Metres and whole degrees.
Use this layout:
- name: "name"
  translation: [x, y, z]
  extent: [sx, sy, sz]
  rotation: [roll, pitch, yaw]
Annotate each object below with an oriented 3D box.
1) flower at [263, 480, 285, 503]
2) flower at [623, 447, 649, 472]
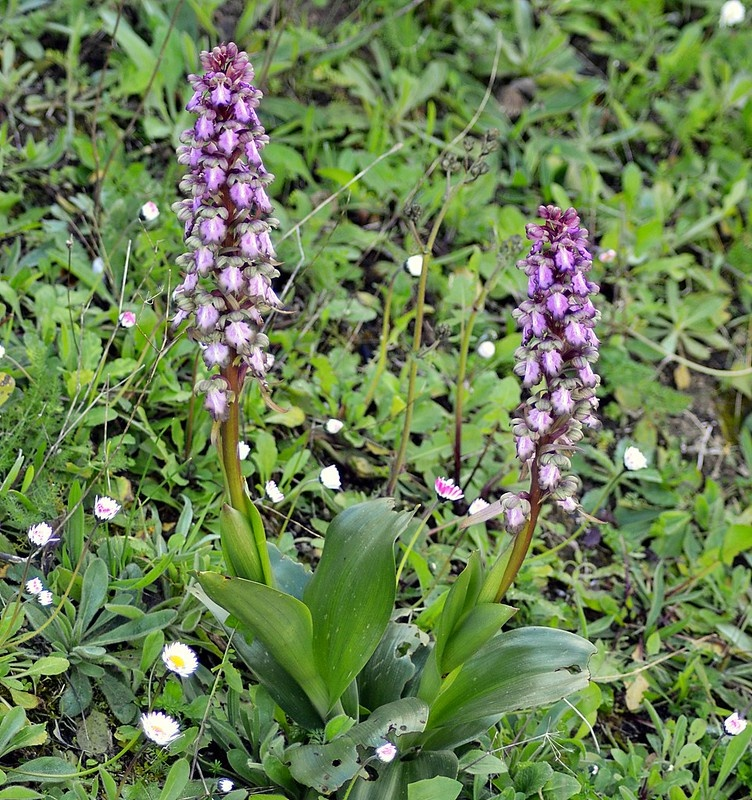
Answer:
- name: "flower"
  translation: [-0.322, 0.282, 2.523]
  extent: [0.079, 0.035, 0.086]
  rotation: [17, 58, -53]
- name: "flower"
  translation: [1.052, 0.244, 3.318]
  extent: [0.079, 0.093, 0.066]
  rotation: [5, 30, 45]
